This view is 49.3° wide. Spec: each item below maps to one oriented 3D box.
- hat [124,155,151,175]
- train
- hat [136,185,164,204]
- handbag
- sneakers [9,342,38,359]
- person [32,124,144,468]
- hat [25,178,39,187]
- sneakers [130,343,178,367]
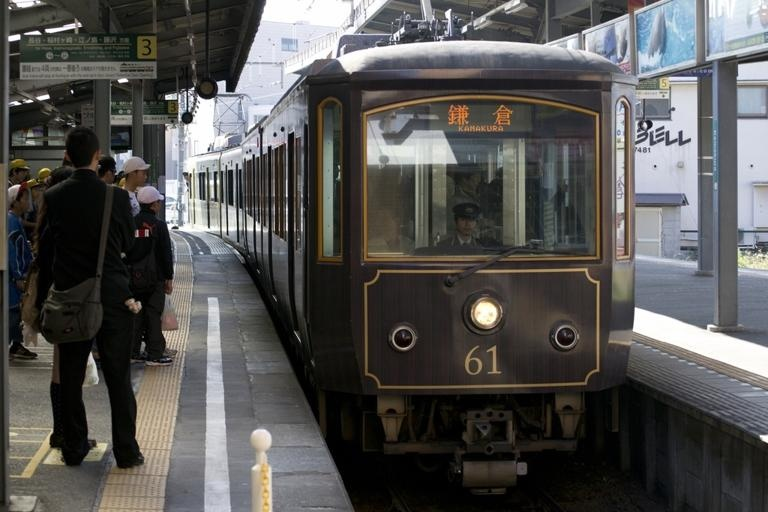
[{"bbox_3d":[-2.744,-1.005,9.268,0.270,0.167,0.217,-17,22,-13],"label":"hat"},{"bbox_3d":[0.609,-0.137,8.552,3.744,4.912,2.009,1,5,18],"label":"train"},{"bbox_3d":[-2.715,-0.707,9.738,0.279,0.166,0.201,-19,27,-38],"label":"hat"},{"bbox_3d":[-2.609,0.474,6.936,0.543,0.608,0.312,-3,-13,23],"label":"handbag"},{"bbox_3d":[-4.420,1.172,10.316,0.380,0.197,0.136,1,2,-18],"label":"sneakers"},{"bbox_3d":[-2.510,0.338,7.281,0.792,2.954,0.852,4,13,5],"label":"person"},{"bbox_3d":[-4.569,-0.938,10.847,0.169,0.091,0.226,-18,6,-37],"label":"hat"},{"bbox_3d":[-2.767,1.188,10.199,0.587,0.292,0.217,-2,6,-10],"label":"sneakers"}]
